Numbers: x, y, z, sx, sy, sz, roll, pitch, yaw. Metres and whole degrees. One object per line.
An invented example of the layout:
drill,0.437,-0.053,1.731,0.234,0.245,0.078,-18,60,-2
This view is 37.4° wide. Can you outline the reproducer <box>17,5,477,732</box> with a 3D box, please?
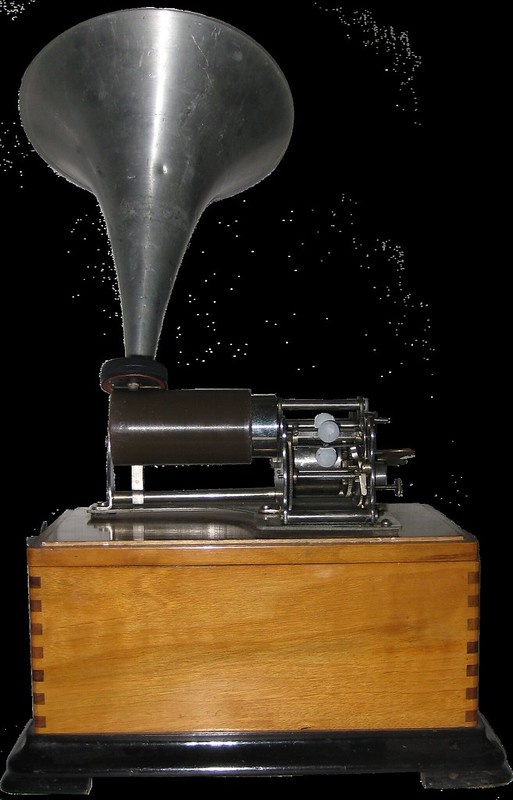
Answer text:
reproducer,-0.048,-0.086,1.703,0.987,1.442,0.656,0,11,-3
